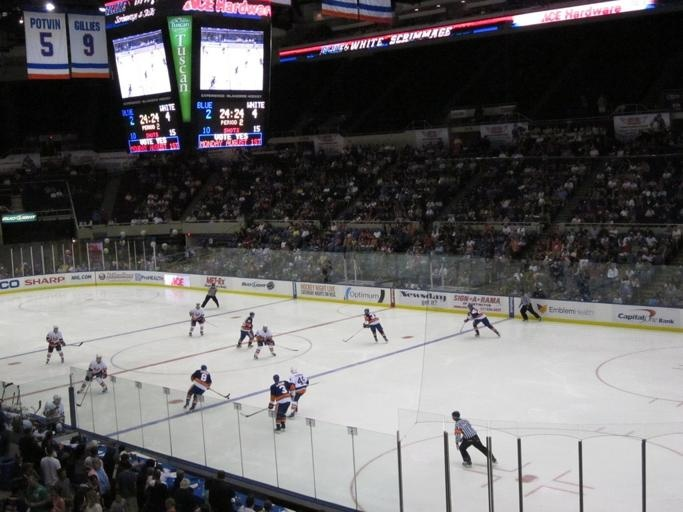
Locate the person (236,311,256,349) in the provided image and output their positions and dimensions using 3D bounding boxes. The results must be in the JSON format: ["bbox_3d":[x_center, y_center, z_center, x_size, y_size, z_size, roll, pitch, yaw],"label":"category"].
[{"bbox_3d":[-3.488,2.549,25.471,0.607,1.491,2.558,-4,9,-9],"label":"person"}]

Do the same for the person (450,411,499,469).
[{"bbox_3d":[2.577,3.535,13.857,0.695,1.049,0.462,-15,2,30],"label":"person"}]

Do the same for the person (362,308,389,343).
[{"bbox_3d":[1.185,2.387,25.136,0.846,1.294,1.529,-2,9,3],"label":"person"}]

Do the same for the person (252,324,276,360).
[{"bbox_3d":[-2.536,2.801,23.237,0.651,1.074,0.575,-3,11,-4],"label":"person"}]

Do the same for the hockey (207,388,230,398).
[{"bbox_3d":[-3.436,3.993,20.302,0.402,0.121,0.401,14,5,10],"label":"hockey"}]

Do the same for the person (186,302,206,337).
[{"bbox_3d":[-5.654,2.355,27.313,0.583,1.274,1.951,-4,9,-13],"label":"person"}]
